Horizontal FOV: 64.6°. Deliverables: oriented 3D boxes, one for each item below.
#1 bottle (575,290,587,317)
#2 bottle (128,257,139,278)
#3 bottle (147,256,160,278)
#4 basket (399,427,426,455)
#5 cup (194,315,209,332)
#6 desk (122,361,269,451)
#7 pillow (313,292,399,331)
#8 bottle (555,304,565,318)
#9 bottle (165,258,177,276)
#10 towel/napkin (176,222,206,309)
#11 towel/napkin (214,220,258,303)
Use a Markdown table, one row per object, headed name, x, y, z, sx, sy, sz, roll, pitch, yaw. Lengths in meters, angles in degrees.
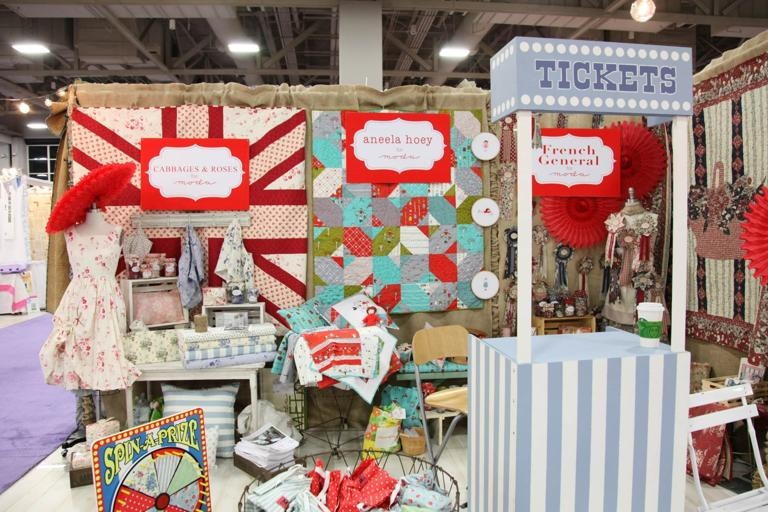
| name | x | y | z | sx | sy | sz | roll | pitch | yaw |
| --- | --- | --- | --- | --- | --- | --- | --- | --- | --- |
| bottle | 2.013 | 0.478 | 6.253 | 0.119 | 0.226 | 0.188 | 3 | 15 | 16 |
| bottle | -2.349 | 0.109 | 5.770 | 0.089 | 0.195 | 0.054 | -4 | 15 | -12 |
| bottle | -2.192 | 0.096 | 5.829 | 0.136 | 0.206 | 0.111 | -6 | 15 | -20 |
| basket | 0.274 | 1.688 | 5.537 | 0.227 | 0.146 | 0.201 | -4 | -5 | 19 |
| cup | -1.655 | 0.624 | 5.566 | 0.145 | 0.157 | 0.141 | 1 | -4 | 0 |
| desk | -1.708 | 1.238 | 5.659 | 1.216 | 0.624 | 0.539 | -1 | 14 | -2 |
| pillow | -0.246 | 0.532 | 5.904 | 0.532 | 0.300 | 0.684 | -13 | 18 | -40 |
| bottle | 1.782 | 0.550 | 6.189 | 0.120 | 0.126 | 0.069 | -4 | 15 | -13 |
| bottle | -2.082 | 0.103 | 5.954 | 0.120 | 0.171 | 0.173 | -6 | 15 | -17 |
| towel/napkin | -1.869 | 0.129 | 5.969 | 0.254 | 0.844 | 0.332 | -3 | 15 | -8 |
| towel/napkin | -1.450 | 0.040 | 5.942 | 0.368 | 0.786 | 0.340 | -5 | 15 | -14 |
